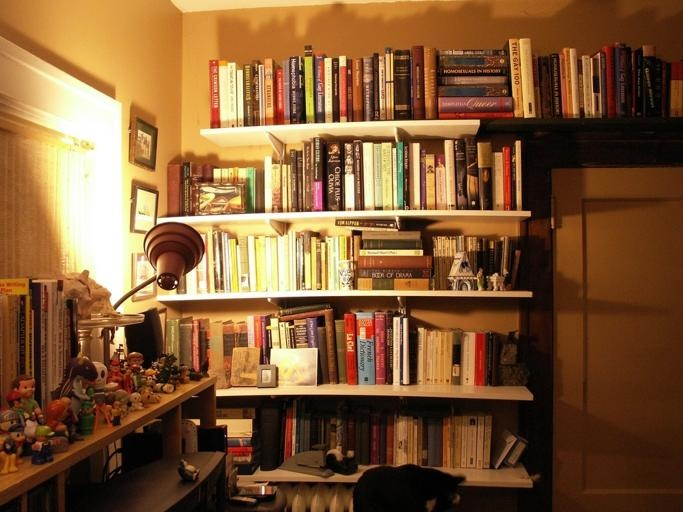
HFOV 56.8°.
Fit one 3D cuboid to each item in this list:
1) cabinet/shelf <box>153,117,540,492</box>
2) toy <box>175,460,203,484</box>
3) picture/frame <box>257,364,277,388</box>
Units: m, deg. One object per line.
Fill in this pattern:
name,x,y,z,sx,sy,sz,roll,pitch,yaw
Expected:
cabinet/shelf,0.063,0.267,3.291,1.839,1.777,0.585,0,-1,1
toy,-0.561,0.795,2.310,0.064,0.057,0.075,-4,-29,12
picture/frame,-0.393,0.639,3.333,0.103,0.116,0.109,-1,-7,1
